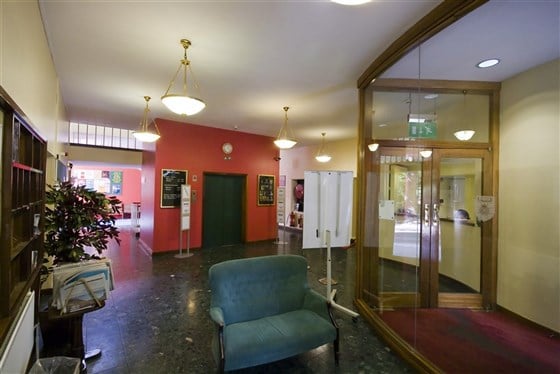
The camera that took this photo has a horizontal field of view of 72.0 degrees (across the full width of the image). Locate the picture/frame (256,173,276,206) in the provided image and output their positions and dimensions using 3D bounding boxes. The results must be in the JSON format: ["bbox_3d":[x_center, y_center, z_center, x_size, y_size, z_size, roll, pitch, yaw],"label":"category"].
[{"bbox_3d":[-0.389,0.052,10.047,0.816,1.137,0.113,2,-3,-39],"label":"picture/frame"}]

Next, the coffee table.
[{"bbox_3d":[-2.518,1.752,4.747,0.765,0.725,0.760,-1,4,-37],"label":"coffee table"}]

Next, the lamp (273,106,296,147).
[{"bbox_3d":[0.090,-1.353,8.440,0.571,0.881,0.583,1,-9,2],"label":"lamp"}]

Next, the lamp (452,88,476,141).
[{"bbox_3d":[1.987,-0.774,4.139,0.083,0.544,0.229,-2,11,-15],"label":"lamp"}]

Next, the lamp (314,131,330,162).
[{"bbox_3d":[1.197,-1.134,10.708,0.466,0.746,0.476,-8,12,-35],"label":"lamp"}]

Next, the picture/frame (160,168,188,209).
[{"bbox_3d":[-2.323,0.012,8.427,0.584,0.833,0.027,2,-4,10],"label":"picture/frame"}]

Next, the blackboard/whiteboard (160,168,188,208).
[{"bbox_3d":[-2.337,0.033,8.392,0.807,1.125,0.049,2,-3,-42],"label":"blackboard/whiteboard"}]
